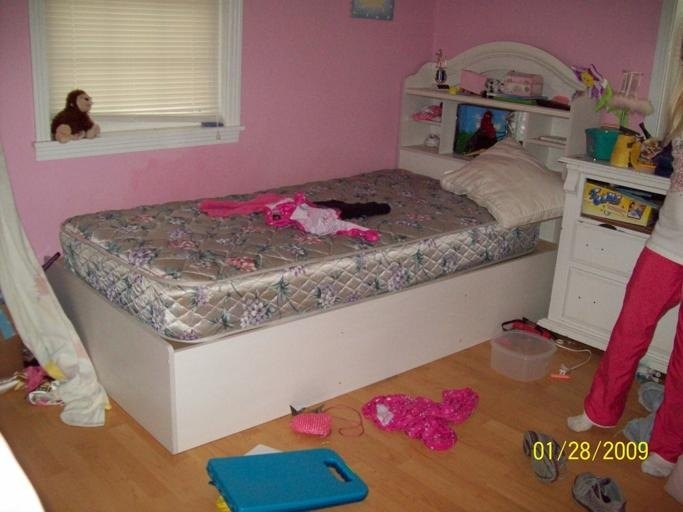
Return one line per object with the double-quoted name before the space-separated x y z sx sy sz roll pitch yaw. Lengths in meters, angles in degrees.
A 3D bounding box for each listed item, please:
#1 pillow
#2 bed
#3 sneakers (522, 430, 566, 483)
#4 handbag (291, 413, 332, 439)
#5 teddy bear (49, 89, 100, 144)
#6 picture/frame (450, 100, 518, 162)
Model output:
"pillow" 1.125 -0.472 3.207 0.632 0.193 0.648 -25 40 -25
"bed" -0.022 -0.422 2.912 2.672 1.562 1.471 -15 38 -35
"sneakers" 0.890 0.893 2.195 0.129 0.064 0.179 -19 31 -13
"handbag" -0.140 0.805 2.329 0.150 0.051 0.106 4 22 -2
"teddy bear" -1.630 -0.840 2.995 0.237 0.315 0.310 17 20 27
"picture/frame" 1.134 -0.991 3.879 0.627 0.510 0.205 8 10 41
